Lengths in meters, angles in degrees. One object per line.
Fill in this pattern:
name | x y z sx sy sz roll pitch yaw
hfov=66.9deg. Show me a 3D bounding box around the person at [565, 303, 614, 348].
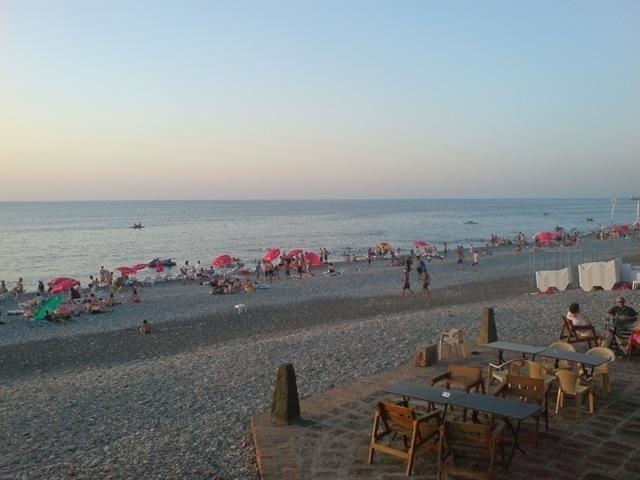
person | 6.792 2.158 12.696 1.359 1.363 1.121 0 2 7
